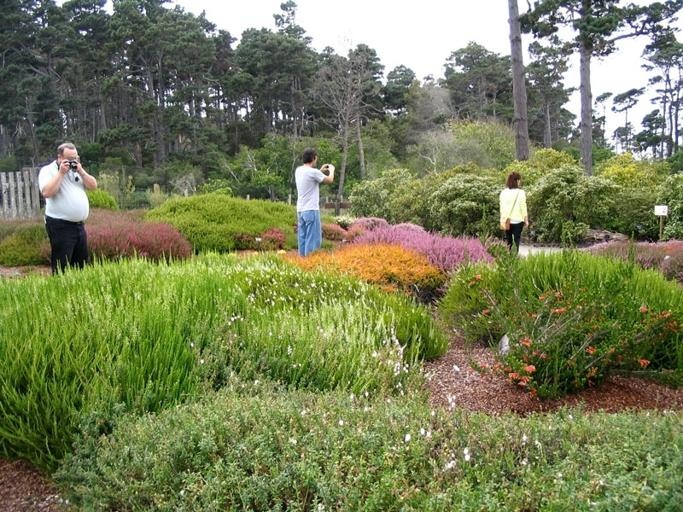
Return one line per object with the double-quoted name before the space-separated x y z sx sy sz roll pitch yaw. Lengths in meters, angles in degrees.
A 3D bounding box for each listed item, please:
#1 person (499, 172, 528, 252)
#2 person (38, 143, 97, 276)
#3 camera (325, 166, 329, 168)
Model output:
"person" 3.366 -0.860 13.529 0.493 1.546 1.867 2 7 14
"person" -3.765 -0.675 9.593 0.539 1.758 0.765 5 8 35
"camera" -0.239 -1.562 12.086 0.041 0.044 0.028 14 6 44
